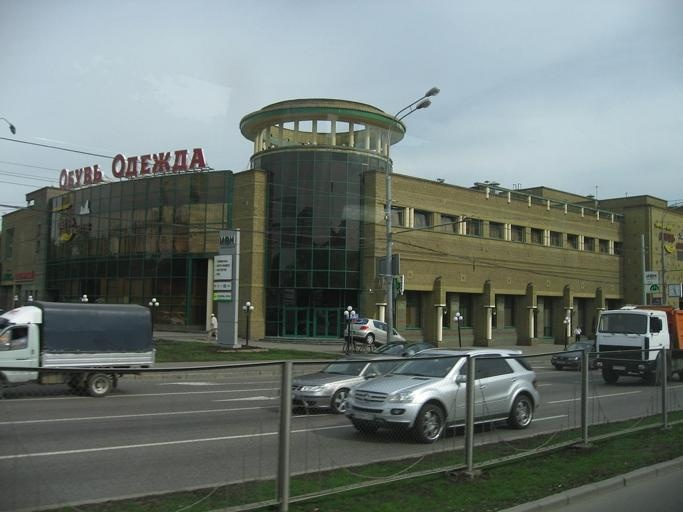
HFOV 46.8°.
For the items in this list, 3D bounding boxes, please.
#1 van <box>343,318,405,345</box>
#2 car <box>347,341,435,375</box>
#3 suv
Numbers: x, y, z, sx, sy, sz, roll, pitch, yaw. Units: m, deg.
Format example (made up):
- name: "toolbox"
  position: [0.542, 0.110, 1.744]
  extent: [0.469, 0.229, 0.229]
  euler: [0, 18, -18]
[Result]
- name: "van"
  position: [1.940, 4.341, 45.887]
  extent: [2.907, 0.962, 1.497]
  euler: [5, -8, -40]
- name: "car"
  position: [1.626, 3.114, 26.619]
  extent: [2.429, 0.803, 1.074]
  euler: [4, -7, -35]
- name: "suv"
  position: [2.132, 2.696, 15.837]
  extent: [3.846, 1.315, 1.798]
  euler: [8, -12, -35]
